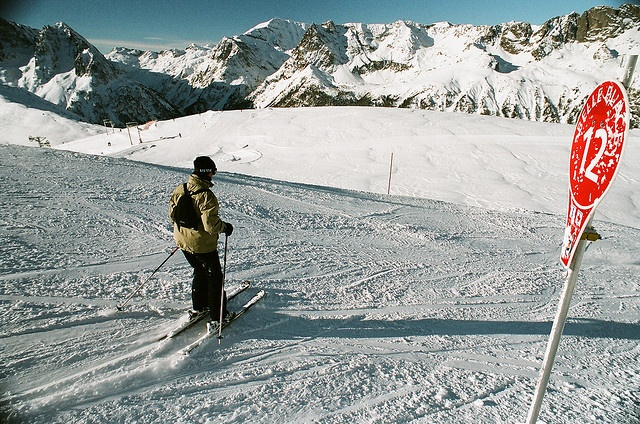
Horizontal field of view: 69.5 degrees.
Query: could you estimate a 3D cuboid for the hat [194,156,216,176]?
[{"bbox_3d":[-2.662,-1.087,10.639,0.395,0.385,0.537,19,25,41],"label":"hat"}]
